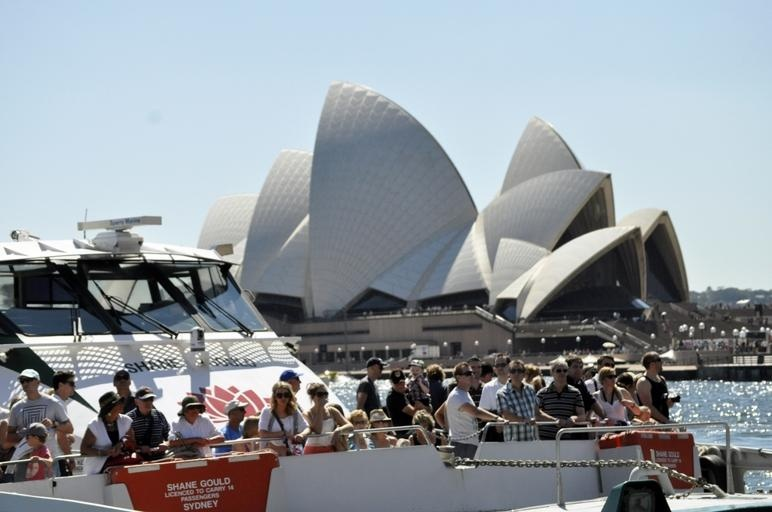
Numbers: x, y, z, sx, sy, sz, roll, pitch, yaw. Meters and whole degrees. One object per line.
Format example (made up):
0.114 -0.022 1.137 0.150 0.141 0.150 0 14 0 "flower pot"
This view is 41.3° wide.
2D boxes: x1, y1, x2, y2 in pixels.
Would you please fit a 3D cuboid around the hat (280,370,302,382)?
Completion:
-1.004 1.220 10.527 0.154 0.071 0.103 -6 7 -20 "hat"

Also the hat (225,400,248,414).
-1.521 1.508 10.285 0.171 0.086 0.120 -13 0 -3 "hat"

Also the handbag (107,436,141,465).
-2.410 1.838 9.597 0.358 0.355 0.209 11 -19 -40 "handbag"

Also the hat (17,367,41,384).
-3.489 1.165 9.995 0.179 0.128 0.145 -6 8 -23 "hat"

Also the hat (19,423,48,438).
-3.365 1.657 9.815 0.184 0.088 0.132 15 8 25 "hat"
